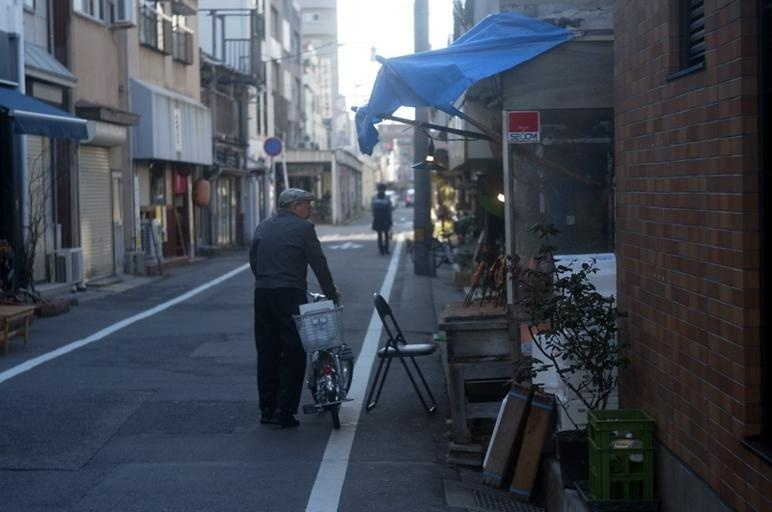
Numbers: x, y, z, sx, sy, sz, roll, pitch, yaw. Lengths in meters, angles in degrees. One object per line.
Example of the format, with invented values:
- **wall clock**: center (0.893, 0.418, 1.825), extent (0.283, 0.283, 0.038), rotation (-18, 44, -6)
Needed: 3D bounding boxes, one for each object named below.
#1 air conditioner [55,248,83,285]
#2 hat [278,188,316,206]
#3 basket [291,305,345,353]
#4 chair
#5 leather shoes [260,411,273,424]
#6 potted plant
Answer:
- **air conditioner**: center (-6.386, 0.266, 17.709), extent (0.317, 0.813, 0.843), rotation (0, 5, 3)
- **hat**: center (-0.961, -0.625, 9.391), extent (0.277, 0.143, 0.217), rotation (-13, 5, -12)
- **basket**: center (-0.732, 0.717, 9.076), extent (0.481, 0.519, 0.401), rotation (-10, 6, -13)
- **chair**: center (0.200, 1.117, 10.015), extent (0.750, 1.307, 0.728), rotation (4, 8, 18)
- **leather shoes**: center (-1.259, 1.715, 9.264), extent (0.071, 0.139, 0.183), rotation (1, 0, -39)
- **potted plant**: center (1.654, 0.747, 8.081), extent (0.973, 2.088, 1.985), rotation (0, 6, 9)
